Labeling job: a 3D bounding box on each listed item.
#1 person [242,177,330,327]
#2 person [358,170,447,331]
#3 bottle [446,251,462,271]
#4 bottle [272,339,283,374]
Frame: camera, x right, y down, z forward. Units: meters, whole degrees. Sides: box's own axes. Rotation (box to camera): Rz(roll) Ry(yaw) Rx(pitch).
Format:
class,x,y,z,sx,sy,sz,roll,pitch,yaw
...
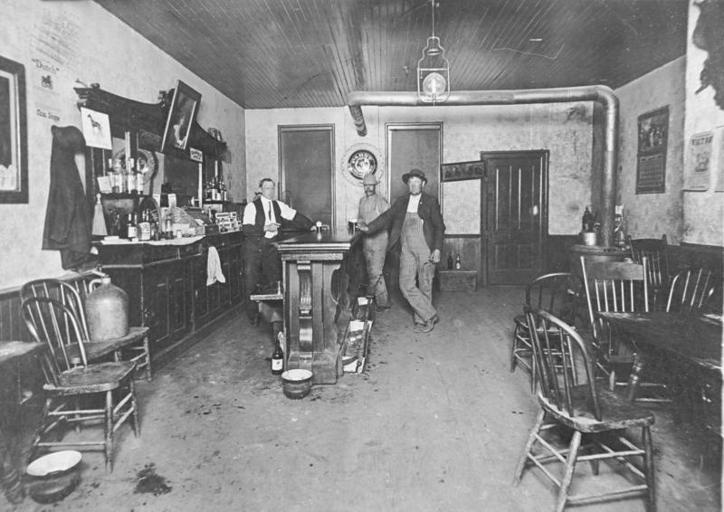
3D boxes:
class,x,y,z,sx,sy,sz,roll,pitch,yaw
person,-1.254,-0.288,7.481,0.627,1.567,0.975,3,9,42
person,0.662,-0.085,7.232,0.885,2.123,0.663,-1,7,12
bottle,1.709,0.097,9.889,0.252,0.288,0.334,-1,7,16
bottle,-0.926,1.097,5.768,0.139,0.355,0.228,-4,7,-11
